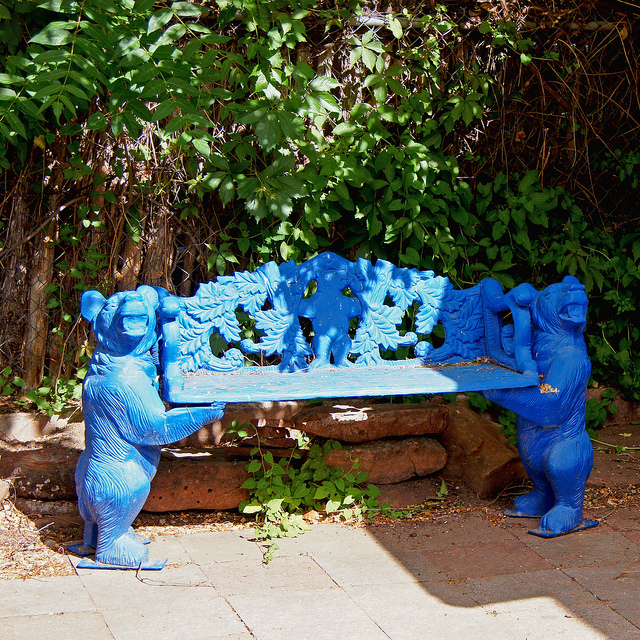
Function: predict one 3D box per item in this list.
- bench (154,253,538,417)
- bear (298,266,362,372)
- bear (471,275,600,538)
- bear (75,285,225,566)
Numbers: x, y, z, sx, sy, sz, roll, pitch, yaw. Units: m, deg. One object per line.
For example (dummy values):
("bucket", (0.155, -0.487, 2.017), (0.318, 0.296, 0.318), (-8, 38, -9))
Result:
("bench", (0.110, 0.048, 4.170), (1.795, 0.716, 0.726), (0, 7, -10))
("bear", (0.053, -0.004, 4.421), (0.339, 0.534, 0.135), (1, 10, -11))
("bear", (1.123, 0.421, 4.290), (0.520, 1.276, 0.378), (8, 11, 32))
("bear", (-0.832, 0.474, 3.846), (0.424, 1.197, 0.549), (-6, 12, -41))
